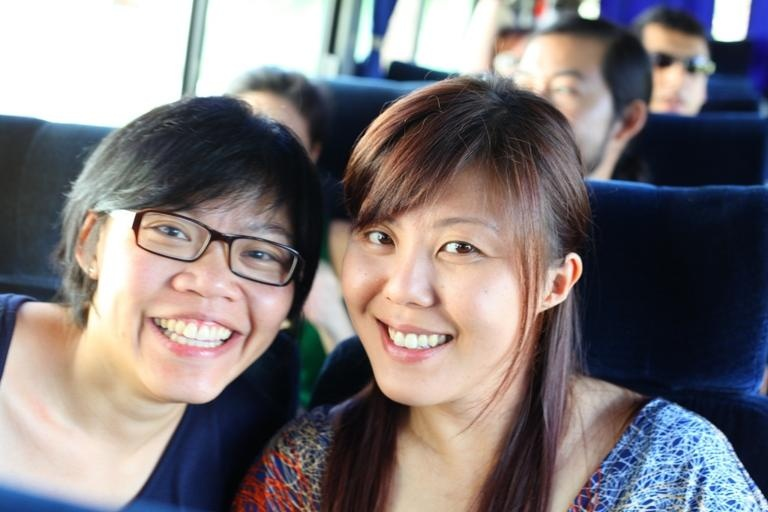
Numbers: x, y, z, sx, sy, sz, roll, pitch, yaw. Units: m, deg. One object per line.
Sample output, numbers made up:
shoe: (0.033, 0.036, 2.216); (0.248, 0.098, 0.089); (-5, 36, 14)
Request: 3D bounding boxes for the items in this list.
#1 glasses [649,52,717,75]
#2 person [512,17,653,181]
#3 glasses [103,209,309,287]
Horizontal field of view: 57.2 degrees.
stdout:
glasses: (1.425, -0.937, 3.396); (0.184, 0.053, 0.180); (8, -4, 4)
person: (0.809, -0.600, 3.225); (0.599, 0.832, 0.609); (-4, -10, 43)
glasses: (-0.439, -0.019, 1.868); (0.445, 0.183, 0.065); (4, 10, -14)
